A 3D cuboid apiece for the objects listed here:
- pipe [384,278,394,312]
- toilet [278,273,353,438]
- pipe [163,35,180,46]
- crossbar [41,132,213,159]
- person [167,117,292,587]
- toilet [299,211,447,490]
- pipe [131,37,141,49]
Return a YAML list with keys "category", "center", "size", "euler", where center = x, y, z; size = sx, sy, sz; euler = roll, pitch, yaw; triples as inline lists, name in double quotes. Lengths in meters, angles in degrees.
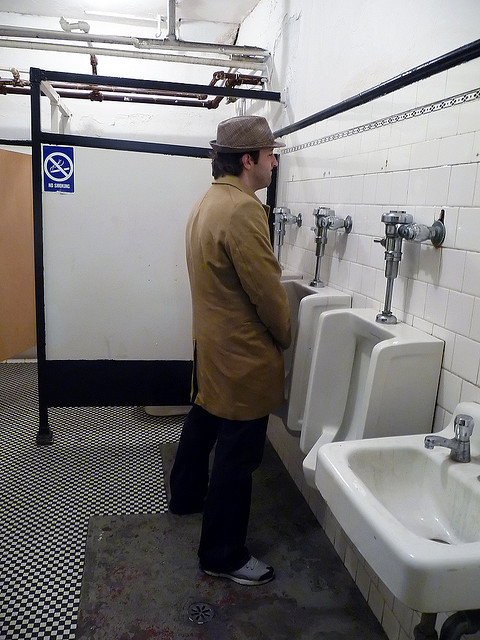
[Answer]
- category: "pipe"
  center: [0.451, -0.075, 1.380]
  size: [0.019, 0.107, 0.062]
  euler: [4, 9, 18]
- category: "toilet"
  center: [0.292, 0.142, 1.709]
  size: [0.227, 0.584, 0.523]
  euler: [0, 15, -8]
- category: "pipe"
  center: [-0.410, -1.675, 2.746]
  size: [0.094, 0.084, 0.077]
  euler: [1, 9, -5]
- category: "crossbar"
  center: [-0.609, -0.937, 2.465]
  size: [0.880, 0.071, 0.075]
  euler: [1, 9, -8]
- category: "person"
  center: [-0.021, 0.112, 1.674]
  size: [0.333, 1.605, 0.530]
  euler: [-2, 9, -24]
- category: "toilet"
  center: [0.393, 0.115, 1.392]
  size: [0.295, 0.871, 0.352]
  euler: [0, 13, -11]
- category: "pipe"
  center: [-0.626, -1.660, 2.747]
  size: [0.052, 0.053, 0.132]
  euler: [-1, 10, -21]
